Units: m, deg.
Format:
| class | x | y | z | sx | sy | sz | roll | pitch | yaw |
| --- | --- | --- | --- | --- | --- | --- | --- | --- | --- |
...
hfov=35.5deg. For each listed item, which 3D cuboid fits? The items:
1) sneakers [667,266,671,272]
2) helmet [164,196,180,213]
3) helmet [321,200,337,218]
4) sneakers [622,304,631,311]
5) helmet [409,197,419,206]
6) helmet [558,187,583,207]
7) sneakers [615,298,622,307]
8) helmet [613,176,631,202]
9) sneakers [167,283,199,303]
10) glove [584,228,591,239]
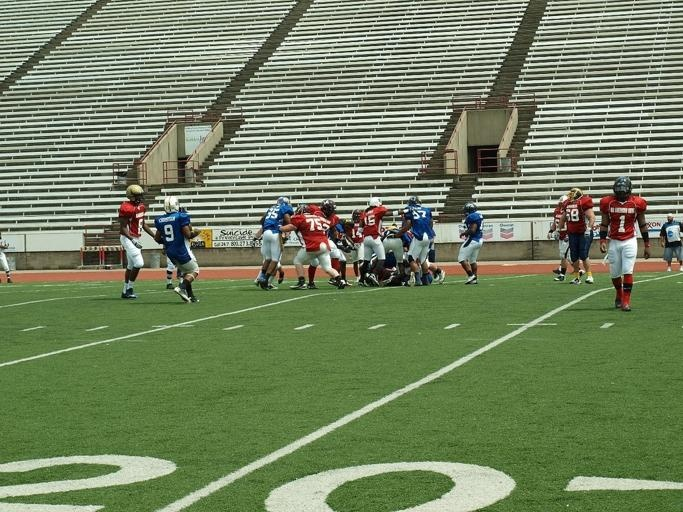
| class | x | y | z | sx | sy | sz | roll | pitch | yaw |
| --- | --- | --- | --- | --- | --- | --- | --- | --- | --- |
| sneakers | 8.318 | 0.338 | 26.965 | 0.096 | 0.116 | 0.282 | -3 | -5 | 15 |
| helmet | -3.094 | -0.922 | 19.330 | 0.250 | 0.293 | 0.573 | 0 | 2 | -8 |
| helmet | -0.287 | -0.984 | 22.392 | 0.379 | 0.339 | 0.292 | 22 | 13 | 0 |
| sneakers | 4.340 | 0.784 | 16.233 | 0.094 | 0.101 | 0.252 | -2 | -4 | 13 |
| helmet | 1.542 | -1.132 | 22.657 | 0.192 | 0.216 | 0.228 | 0 | -25 | 1 |
| helmet | 4.548 | -1.229 | 21.558 | 0.583 | 0.291 | 0.358 | -17 | 0 | 21 |
| sneakers | 4.283 | 0.735 | 16.544 | 0.104 | 0.165 | 0.119 | 5 | -3 | -6 |
| helmet | 4.389 | -1.026 | 16.438 | 0.347 | 0.403 | 0.448 | -1 | 9 | 28 |
| sneakers | -2.997 | 0.708 | 19.967 | 0.424 | 0.204 | 0.142 | 39 | -11 | -11 |
| glove | 4.658 | -0.416 | 20.047 | 0.119 | 0.154 | 0.057 | 5 | -11 | -10 |
